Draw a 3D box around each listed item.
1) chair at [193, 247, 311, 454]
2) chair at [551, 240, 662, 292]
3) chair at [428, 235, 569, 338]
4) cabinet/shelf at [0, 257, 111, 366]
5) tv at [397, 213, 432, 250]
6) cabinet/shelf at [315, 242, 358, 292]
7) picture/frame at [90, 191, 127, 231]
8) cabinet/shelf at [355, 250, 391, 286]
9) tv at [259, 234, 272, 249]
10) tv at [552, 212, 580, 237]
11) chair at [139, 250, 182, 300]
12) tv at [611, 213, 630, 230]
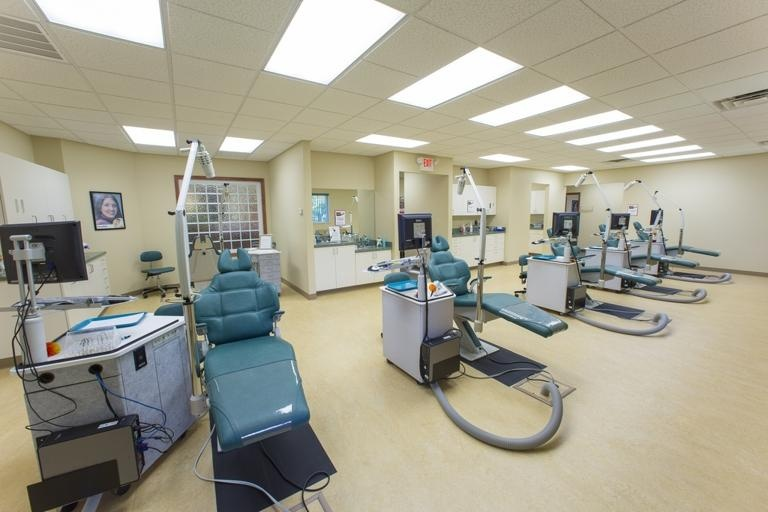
[{"bbox_3d":[-1.536,1.150,5.434,1.244,1.517,2.189,-8,48,-29],"label":"chair"},{"bbox_3d":[3.878,0.280,8.071,1.204,0.731,1.598,-9,11,-30],"label":"chair"},{"bbox_3d":[1.366,0.301,6.042,1.692,1.150,0.623,0,7,34],"label":"chair"},{"bbox_3d":[-3.546,0.603,5.006,0.748,1.118,1.208,-8,16,-43],"label":"cabinet/shelf"},{"bbox_3d":[0.362,-0.290,5.526,0.440,0.407,0.151,-2,9,-19],"label":"tv"},{"bbox_3d":[-0.852,0.223,8.886,0.905,0.792,0.339,-6,-8,22],"label":"cabinet/shelf"},{"bbox_3d":[-4.779,-0.786,8.111,0.053,0.769,0.681,4,8,29],"label":"picture/frame"},{"bbox_3d":[-0.224,0.162,8.173,0.646,0.538,0.247,-6,8,-40],"label":"cabinet/shelf"},{"bbox_3d":[-2.255,-0.272,8.972,0.271,0.340,0.185,4,13,9],"label":"tv"},{"bbox_3d":[2.754,-0.484,7.165,0.518,0.378,0.079,-3,15,-17],"label":"tv"},{"bbox_3d":[-4.216,0.309,8.742,0.551,0.782,0.567,12,17,35],"label":"chair"},{"bbox_3d":[4.064,-0.607,8.133,0.354,0.238,0.123,-5,14,-18],"label":"tv"}]
